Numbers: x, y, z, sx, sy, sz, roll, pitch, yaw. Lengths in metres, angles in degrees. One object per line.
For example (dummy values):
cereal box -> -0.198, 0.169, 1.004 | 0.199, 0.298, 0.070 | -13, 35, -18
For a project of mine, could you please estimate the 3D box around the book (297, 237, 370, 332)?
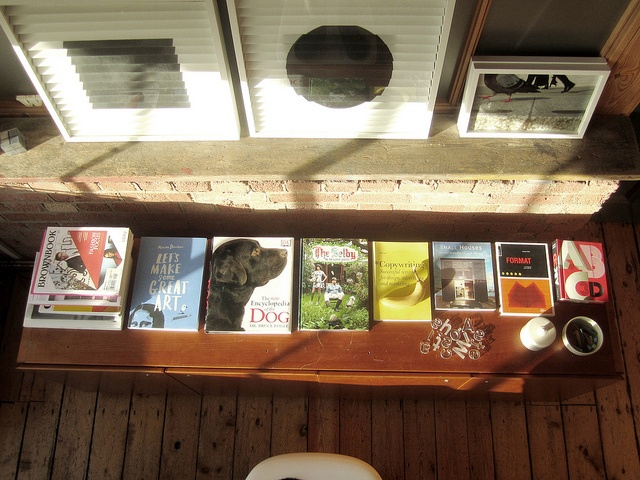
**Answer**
book -> 0.067, 0.206, 2.225 | 0.324, 0.095, 0.395 | -1, 79, 0

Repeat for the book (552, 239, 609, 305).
book -> 1.223, 0.154, 2.227 | 0.290, 0.067, 0.265 | 1, 79, -1

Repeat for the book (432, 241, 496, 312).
book -> 0.683, 0.183, 2.247 | 0.372, 0.030, 0.372 | 0, 71, 0
